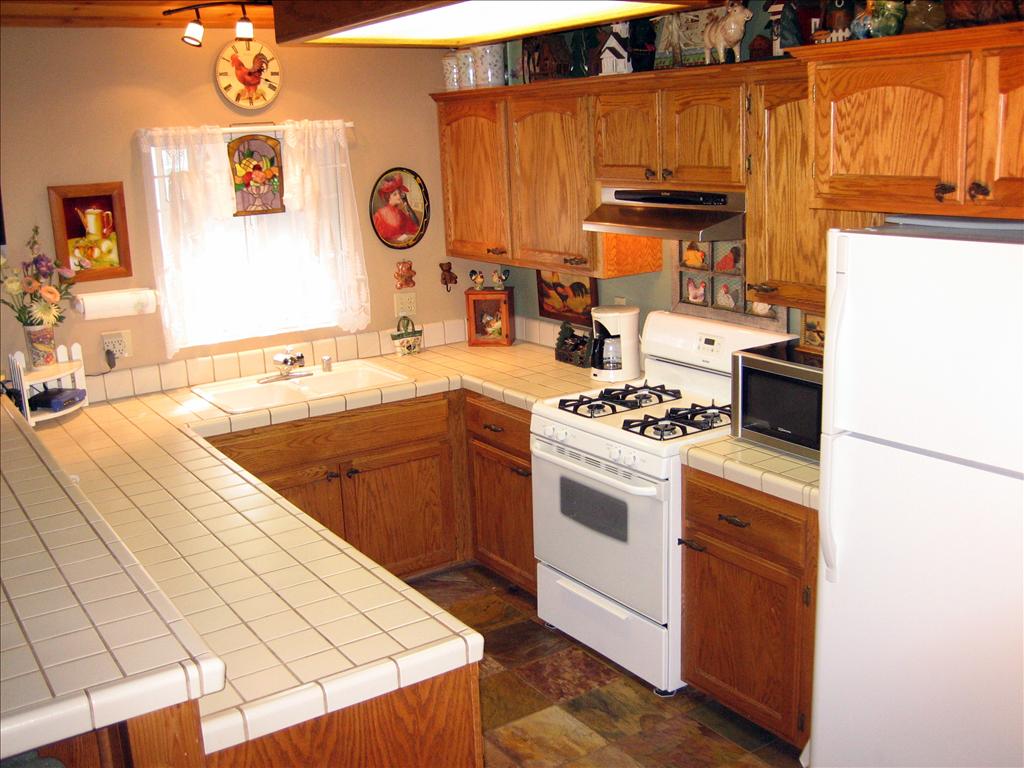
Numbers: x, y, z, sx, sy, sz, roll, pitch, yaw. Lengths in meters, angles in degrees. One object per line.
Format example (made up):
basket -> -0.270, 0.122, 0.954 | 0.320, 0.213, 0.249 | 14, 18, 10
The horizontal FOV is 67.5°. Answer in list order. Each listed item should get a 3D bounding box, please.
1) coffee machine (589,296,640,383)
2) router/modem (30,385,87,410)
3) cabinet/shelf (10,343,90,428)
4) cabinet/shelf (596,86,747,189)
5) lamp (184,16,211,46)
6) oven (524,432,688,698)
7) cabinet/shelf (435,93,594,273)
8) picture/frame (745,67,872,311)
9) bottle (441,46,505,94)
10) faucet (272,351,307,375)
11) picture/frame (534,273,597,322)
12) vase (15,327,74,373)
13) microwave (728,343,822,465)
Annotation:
coffee machine -> 0.526, -0.222, 3.988 | 0.267, 0.370, 0.276 | -11, 15, -30
router/modem -> -2.184, 0.065, 3.683 | 0.235, 0.081, 0.151 | -14, 19, -34
cabinet/shelf -> -2.204, 0.004, 3.629 | 0.259, 0.350, 0.353 | -3, 10, -12
cabinet/shelf -> 0.734, -1.156, 3.471 | 0.764, 0.436, 0.281 | 11, 26, 32
lamp -> -1.502, -1.679, 3.616 | 0.073, 0.139, 0.260 | -7, 16, -14
oven -> 0.601, 0.692, 3.562 | 0.697, 0.985, 0.871 | -4, 11, -34
cabinet/shelf -> 0.121, -1.179, 4.329 | 1.145, 0.950, 0.449 | 14, 25, 41
picture/frame -> 1.094, -0.720, 2.966 | 0.129, 0.962, 0.529 | -13, 21, -14
bottle -> -0.234, -1.775, 4.343 | 0.361, 0.340, 0.214 | 10, 18, 34
faucet -> -1.240, -0.128, 4.292 | 0.185, 0.125, 0.168 | 3, -28, -12
picture/frame -> 0.329, -0.525, 4.489 | 0.022, 0.304, 0.321 | -19, 24, -42
vase -> -2.270, -0.196, 3.752 | 0.203, 0.205, 0.163 | 2, 7, -7
microwave -> 1.133, 0.046, 2.982 | 0.331, 0.355, 0.429 | -18, 23, -30
